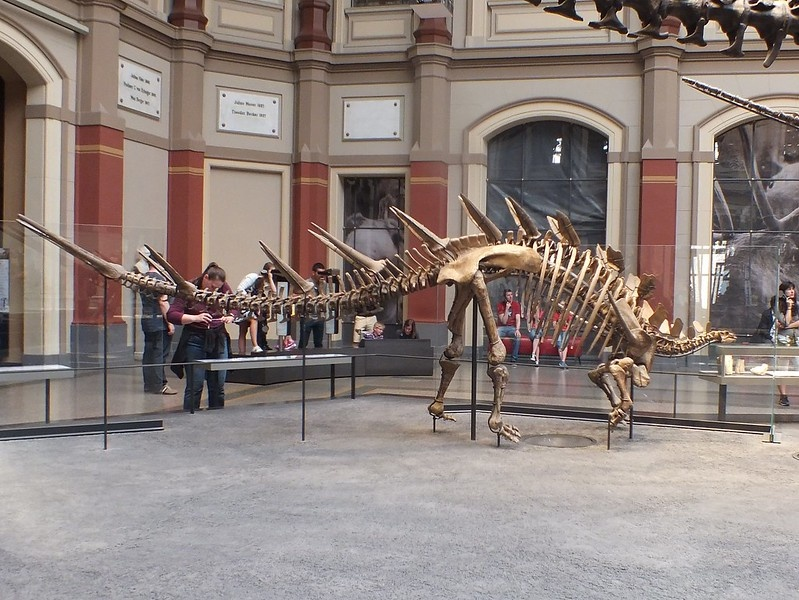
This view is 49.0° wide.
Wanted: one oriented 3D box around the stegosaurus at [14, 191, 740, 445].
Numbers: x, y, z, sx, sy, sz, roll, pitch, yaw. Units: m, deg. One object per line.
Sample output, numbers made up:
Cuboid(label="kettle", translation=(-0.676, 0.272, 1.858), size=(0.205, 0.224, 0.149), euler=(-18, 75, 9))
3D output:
Cuboid(label="stegosaurus", translation=(0.014, 0.298, 9.192), size=(7.805, 2.866, 1.658), euler=(3, -14, -12))

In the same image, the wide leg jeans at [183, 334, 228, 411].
Cuboid(label="wide leg jeans", translation=(-2.369, 0.868, 10.785), size=(0.511, 1.138, 0.358), euler=(1, 23, -19))

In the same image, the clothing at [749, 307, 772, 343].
Cuboid(label="clothing", translation=(3.998, 0.262, 9.612), size=(0.129, 0.339, 0.198), euler=(18, -1, -40))

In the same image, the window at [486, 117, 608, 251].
Cuboid(label="window", translation=(2.674, -2.171, 15.249), size=(2.839, 2.840, 0.182), euler=(0, 2, 7))

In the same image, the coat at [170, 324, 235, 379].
Cuboid(label="coat", translation=(-2.396, 0.615, 10.628), size=(0.824, 0.736, 0.322), euler=(1, -5, -17))

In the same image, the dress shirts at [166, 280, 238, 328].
Cuboid(label="dress shirts", translation=(-2.359, 0.167, 10.361), size=(0.743, 0.578, 0.268), euler=(6, 13, 13))

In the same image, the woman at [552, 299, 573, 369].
Cuboid(label="woman", translation=(1.797, 0.367, 9.455), size=(0.239, 0.681, 0.198), euler=(1, 5, 34))
